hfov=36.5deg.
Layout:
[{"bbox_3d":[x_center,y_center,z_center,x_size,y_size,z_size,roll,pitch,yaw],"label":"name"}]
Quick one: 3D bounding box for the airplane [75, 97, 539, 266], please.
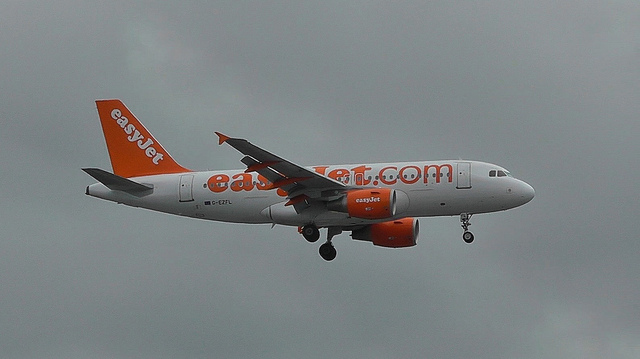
[{"bbox_3d":[-0.574,-0.092,55.496,25.345,7.707,23.759,-2,-5,7],"label":"airplane"}]
